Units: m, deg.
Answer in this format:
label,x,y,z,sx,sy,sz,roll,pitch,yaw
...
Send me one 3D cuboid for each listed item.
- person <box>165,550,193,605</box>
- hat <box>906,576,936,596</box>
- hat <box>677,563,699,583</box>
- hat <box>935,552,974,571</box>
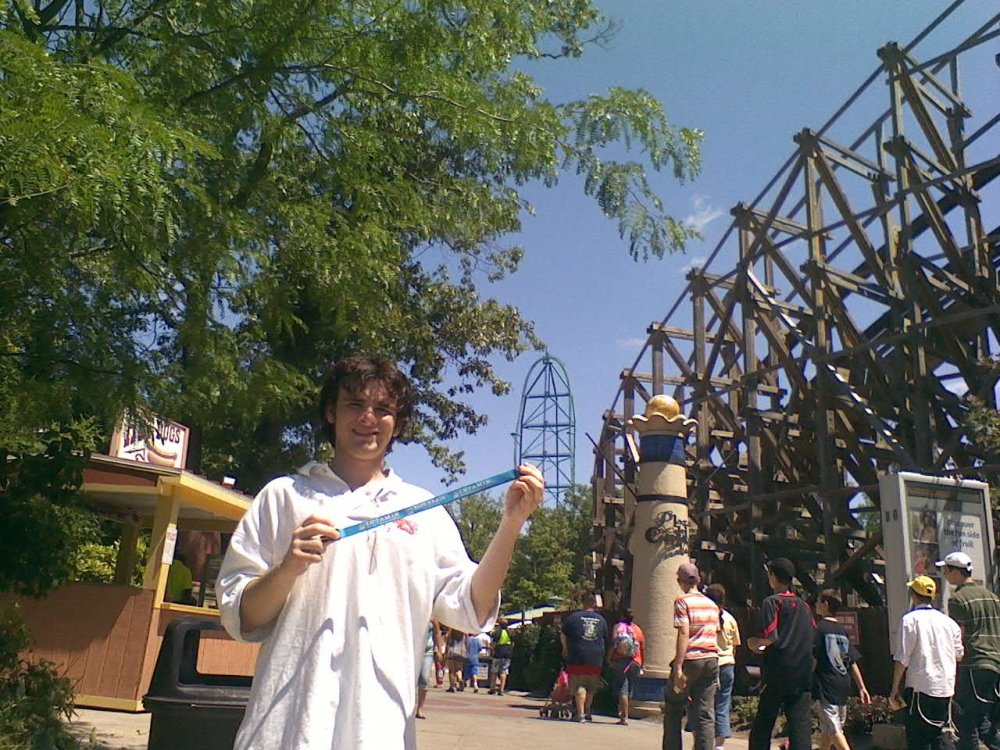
label,x,y,z,sx,sy,sz,roll,pitch,yaw
person,-5.062,3.207,14.345,0.390,0.771,0.828,14,-23,-16
hat,4.410,2.181,9.525,0.219,0.280,0.329,-3,-25,24
hat,2.045,2.125,9.873,0.214,0.234,0.163,-2,10,-27
hat,4.777,1.933,9.570,0.245,0.240,0.321,2,-23,13
